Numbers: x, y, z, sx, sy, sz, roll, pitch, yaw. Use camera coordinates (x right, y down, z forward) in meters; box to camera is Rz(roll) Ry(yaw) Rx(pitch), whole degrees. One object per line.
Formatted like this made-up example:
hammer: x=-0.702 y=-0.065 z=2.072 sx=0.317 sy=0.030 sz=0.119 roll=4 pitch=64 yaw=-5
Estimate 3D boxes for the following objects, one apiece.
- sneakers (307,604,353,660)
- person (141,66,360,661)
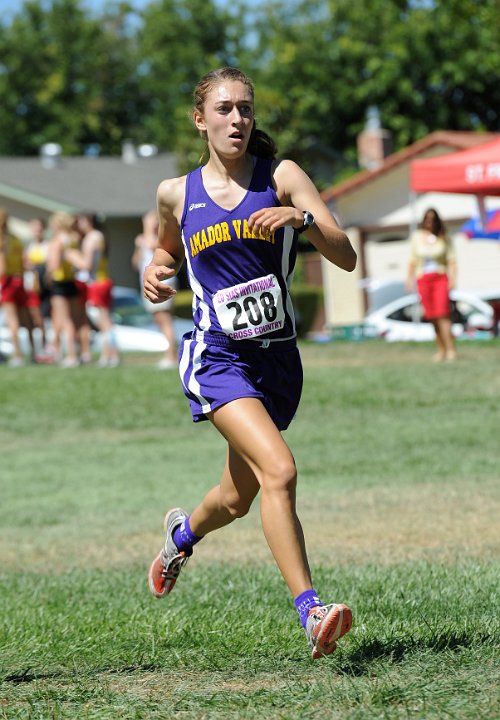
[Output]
sneakers: x=0.210 y=0.728 z=2.255 sx=0.123 sy=0.161 sz=0.180 roll=-6 pitch=-4 yaw=1
person: x=0.027 y=-0.056 z=2.627 sx=0.455 sy=1.828 sz=0.791 roll=-3 pitch=-5 yaw=-39
